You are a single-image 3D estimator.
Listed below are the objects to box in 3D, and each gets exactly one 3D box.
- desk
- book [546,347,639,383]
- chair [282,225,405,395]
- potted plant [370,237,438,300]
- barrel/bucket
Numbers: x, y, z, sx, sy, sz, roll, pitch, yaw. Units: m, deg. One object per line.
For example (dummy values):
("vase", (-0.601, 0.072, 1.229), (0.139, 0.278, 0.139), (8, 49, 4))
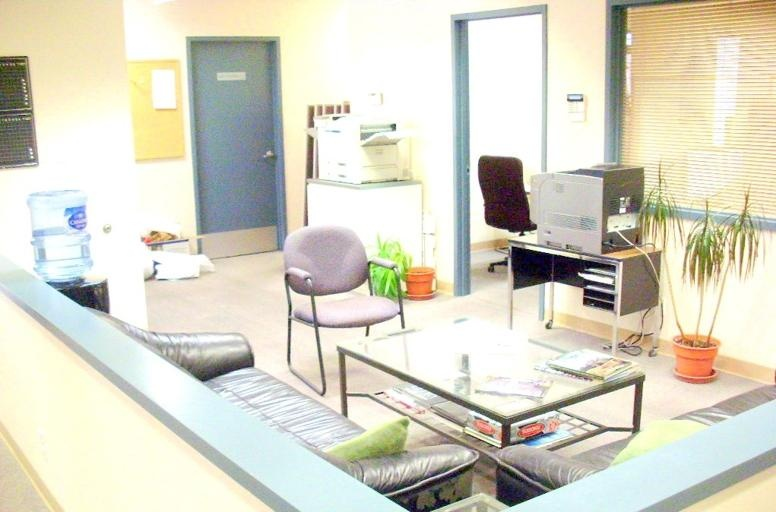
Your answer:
("desk", (1.579, 0.321, 4.766), (0.626, 0.711, 1.072), (-5, 11, -32))
("book", (1.148, 0.624, 3.274), (0.253, 0.049, 0.270), (-9, 13, -41))
("chair", (-0.308, 0.357, 4.363), (0.976, 0.991, 0.862), (-1, 15, -9))
("potted plant", (0.175, 0.123, 5.943), (0.710, 0.754, 0.663), (-2, 10, 0))
("barrel/bucket", (-2.576, -0.130, 4.502), (0.547, 0.672, 0.539), (-4, 4, 0))
